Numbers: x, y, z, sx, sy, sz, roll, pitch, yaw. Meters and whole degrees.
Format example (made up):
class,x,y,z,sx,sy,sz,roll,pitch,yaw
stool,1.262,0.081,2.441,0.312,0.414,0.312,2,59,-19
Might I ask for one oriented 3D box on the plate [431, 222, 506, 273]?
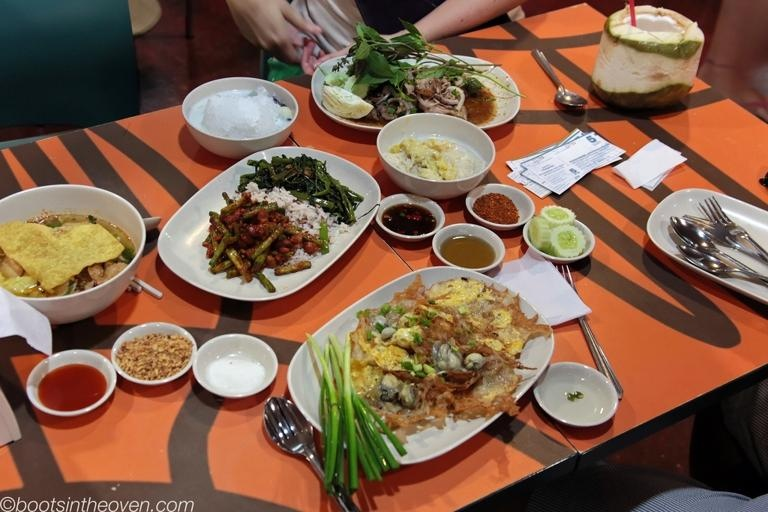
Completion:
class,x,y,z,sx,sy,sz,roll,pitch,yaw
plate,0.482,-0.061,3.199,0.460,0.271,0.327,-14,25,-32

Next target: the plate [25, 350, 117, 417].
class,x,y,z,sx,sy,sz,roll,pitch,yaw
plate,-1.467,0.591,2.595,0.385,0.075,0.308,10,59,-3

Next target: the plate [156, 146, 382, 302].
class,x,y,z,sx,sy,sz,roll,pitch,yaw
plate,-0.726,-0.131,3.367,0.856,0.224,1.082,37,61,23

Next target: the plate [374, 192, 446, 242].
class,x,y,z,sx,sy,sz,roll,pitch,yaw
plate,0.161,-0.235,3.283,0.319,0.080,0.330,1,54,-2

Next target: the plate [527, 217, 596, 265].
class,x,y,z,sx,sy,sz,roll,pitch,yaw
plate,1.022,-0.052,3.187,0.305,0.124,0.312,10,53,2

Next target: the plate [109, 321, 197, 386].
class,x,y,z,sx,sy,sz,roll,pitch,yaw
plate,-1.130,0.471,2.700,0.400,0.058,0.307,3,59,-8

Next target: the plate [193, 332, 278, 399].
class,x,y,z,sx,sy,sz,roll,pitch,yaw
plate,-0.726,0.534,2.696,0.400,0.092,0.315,-1,60,-10

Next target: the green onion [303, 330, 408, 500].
class,x,y,z,sx,sy,sz,roll,pitch,yaw
green onion,-0.168,0.741,2.580,0.342,0.120,0.684,-13,64,-7

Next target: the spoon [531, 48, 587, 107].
class,x,y,z,sx,sy,sz,roll,pitch,yaw
spoon,1.298,-1.363,4.172,0.165,0.132,0.717,-4,51,-13
